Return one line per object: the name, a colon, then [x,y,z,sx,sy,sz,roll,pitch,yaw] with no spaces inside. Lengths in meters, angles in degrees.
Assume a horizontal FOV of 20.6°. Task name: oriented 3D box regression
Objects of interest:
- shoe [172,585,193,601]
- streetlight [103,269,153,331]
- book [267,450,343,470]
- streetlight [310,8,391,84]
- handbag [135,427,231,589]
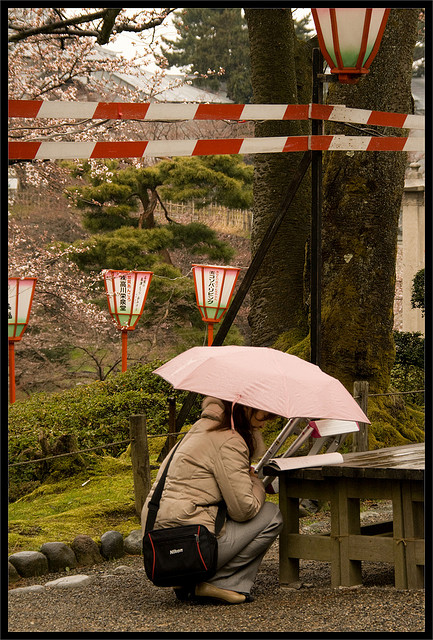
shoe: [-0.180,1.446,6.338,0.102,0.073,0.096,0,-5,8]
streetlight: [-0.998,-0.272,13.376,0.462,0.754,0.435,-2,4,-34]
book: [0.503,0.759,6.445,0.304,0.042,0.144,-5,7,-26]
streetlight: [0.850,-1.758,7.555,0.479,0.465,0.306,-4,6,4]
handbag: [-0.119,1.001,6.265,0.487,0.760,0.439,-8,-14,16]
